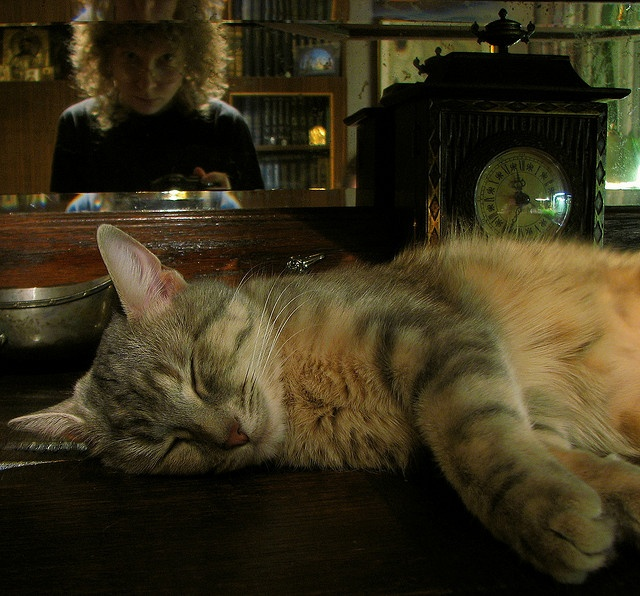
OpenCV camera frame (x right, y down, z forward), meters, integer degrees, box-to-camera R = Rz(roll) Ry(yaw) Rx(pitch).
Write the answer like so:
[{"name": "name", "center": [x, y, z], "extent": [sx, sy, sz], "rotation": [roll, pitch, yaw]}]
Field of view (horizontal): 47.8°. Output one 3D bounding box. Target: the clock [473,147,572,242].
[{"name": "clock", "center": [0.356, -0.173, 1.257], "extent": [0.045, 0.168, 0.192], "rotation": [-24, 36, -37]}]
